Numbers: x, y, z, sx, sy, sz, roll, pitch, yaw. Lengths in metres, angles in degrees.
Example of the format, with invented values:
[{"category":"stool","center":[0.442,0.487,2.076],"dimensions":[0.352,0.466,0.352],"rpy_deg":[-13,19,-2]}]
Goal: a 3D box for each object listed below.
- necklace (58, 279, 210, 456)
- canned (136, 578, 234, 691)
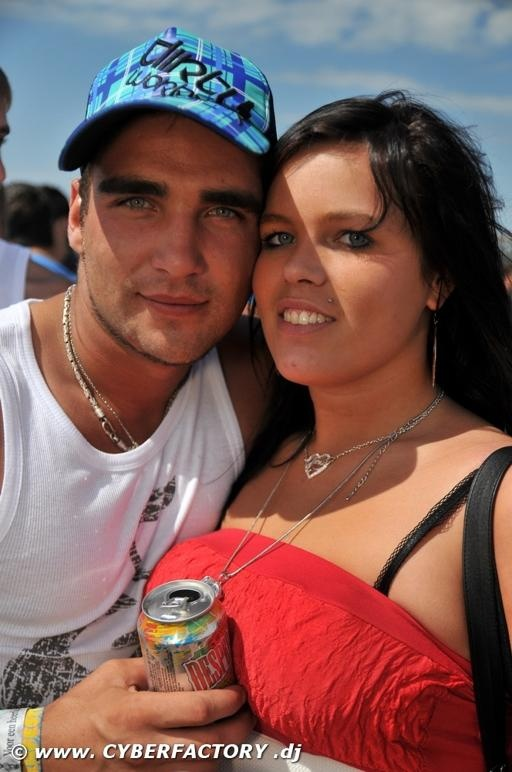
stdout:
[{"category":"necklace","center":[-0.414,-0.029,2.061],"dimensions":[0.078,0.434,0.282],"rpy_deg":[-22,7,45]},{"category":"canned","center":[-0.149,0.577,1.578],"dimensions":[0.189,0.269,0.170],"rpy_deg":[-7,14,-6]}]
